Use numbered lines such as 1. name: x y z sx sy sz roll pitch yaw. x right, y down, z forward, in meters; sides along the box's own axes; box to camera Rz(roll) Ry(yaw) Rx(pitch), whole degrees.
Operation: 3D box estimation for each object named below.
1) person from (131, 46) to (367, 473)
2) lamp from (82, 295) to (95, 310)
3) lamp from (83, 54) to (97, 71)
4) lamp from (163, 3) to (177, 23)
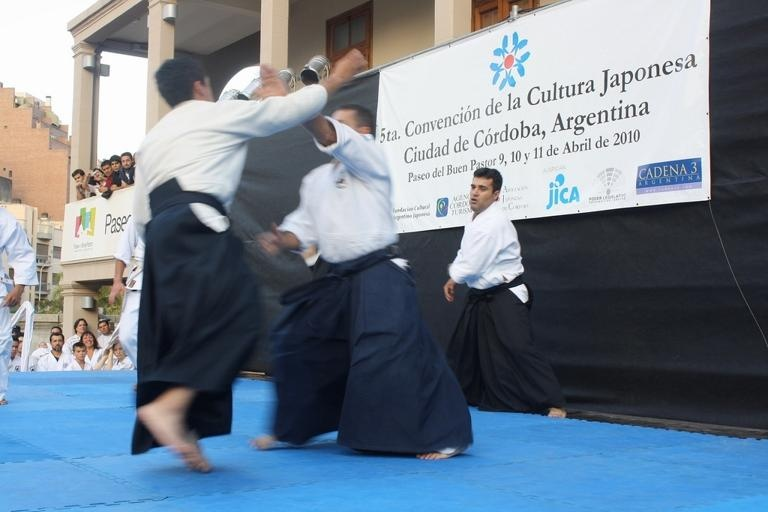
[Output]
1. person: -0.904 0.109 3.807 0.980 2.191 0.372 1 -2 -11
2. lamp: -6.881 1.043 16.015 0.311 0.279 0.304 3 -6 -17
3. lamp: -7.027 -4.646 16.336 0.281 0.373 0.366 1 -2 -12
4. lamp: -4.068 -4.672 13.009 0.217 0.344 0.243 2 -2 -28
